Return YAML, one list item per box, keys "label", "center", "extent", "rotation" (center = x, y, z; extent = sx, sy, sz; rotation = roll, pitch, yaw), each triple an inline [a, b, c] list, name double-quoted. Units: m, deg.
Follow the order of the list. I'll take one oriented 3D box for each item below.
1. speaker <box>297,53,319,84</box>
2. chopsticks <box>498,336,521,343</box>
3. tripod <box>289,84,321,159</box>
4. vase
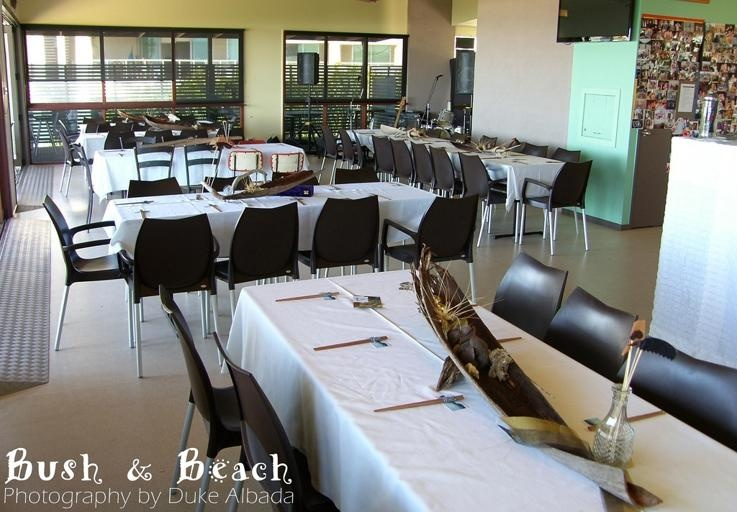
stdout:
- label: "speaker"
  center: [-1.431, -4.263, 11.482]
  extent: [0.602, 0.673, 0.260]
  rotation: [13, 22, 39]
- label: "chopsticks"
  center: [0.649, 0.390, 2.352]
  extent: [0.107, 0.015, 0.019]
  rotation: [-7, 50, -23]
- label: "tripod"
  center: [-1.473, -3.319, 12.446]
  extent: [1.027, 1.282, 0.974]
  rotation: [29, 43, 22]
- label: "vase"
  center: [0.774, 0.527, 1.580]
  extent: [0.109, 0.269, 0.111]
  rotation: [1, 13, 5]
